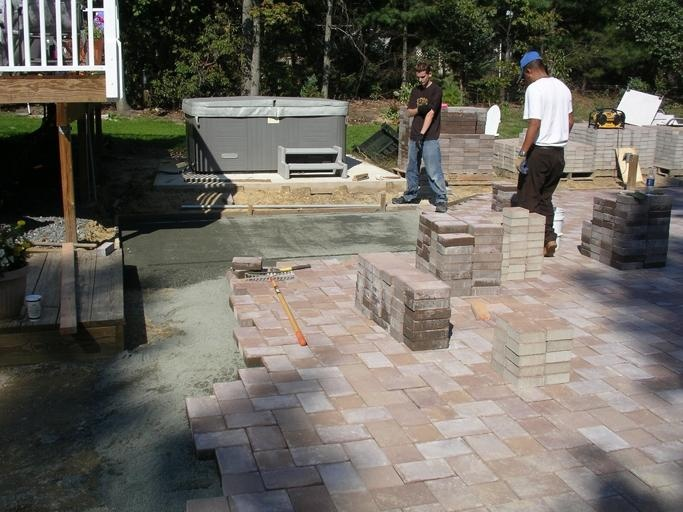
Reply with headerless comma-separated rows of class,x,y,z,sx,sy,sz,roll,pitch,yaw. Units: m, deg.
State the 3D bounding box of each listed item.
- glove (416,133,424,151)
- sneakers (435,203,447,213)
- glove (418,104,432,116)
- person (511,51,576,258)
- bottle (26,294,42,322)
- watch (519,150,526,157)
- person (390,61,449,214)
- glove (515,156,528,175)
glove,1.447,-2.099,10.015,0.177,0.212,0.182,6,17,2
sneakers,1.789,-0.857,9.766,0.192,0.133,0.375,0,2,11
glove,1.511,-2.672,9.919,0.168,0.200,0.402,-6,14,-18
person,2.689,-1.354,7.279,0.663,2.642,0.628,3,16,17
bottle,-2.847,0.483,5.165,0.246,0.218,0.227,-1,6,-25
watch,2.380,-1.344,7.129,0.097,0.055,0.086,0,6,-3
person,1.522,-2.195,10.039,0.694,2.602,1.300,-7,16,-19
glove,2.442,-1.207,7.322,0.166,0.182,0.087,4,-6,-24
